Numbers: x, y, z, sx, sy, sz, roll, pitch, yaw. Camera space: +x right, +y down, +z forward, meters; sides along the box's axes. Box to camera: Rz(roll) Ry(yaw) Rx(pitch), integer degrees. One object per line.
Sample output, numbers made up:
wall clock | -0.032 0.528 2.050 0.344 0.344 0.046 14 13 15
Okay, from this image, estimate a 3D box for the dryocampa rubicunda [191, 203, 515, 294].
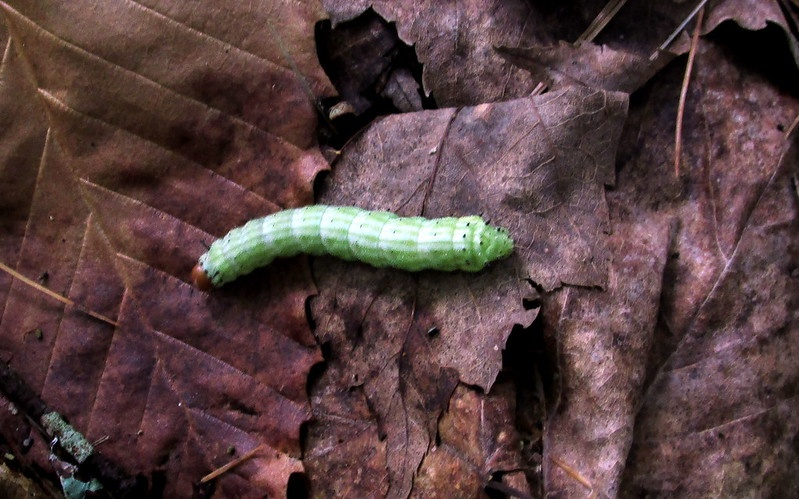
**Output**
dryocampa rubicunda | -0.394 -0.028 7.127 2.574 0.645 0.267 -1 13 5
